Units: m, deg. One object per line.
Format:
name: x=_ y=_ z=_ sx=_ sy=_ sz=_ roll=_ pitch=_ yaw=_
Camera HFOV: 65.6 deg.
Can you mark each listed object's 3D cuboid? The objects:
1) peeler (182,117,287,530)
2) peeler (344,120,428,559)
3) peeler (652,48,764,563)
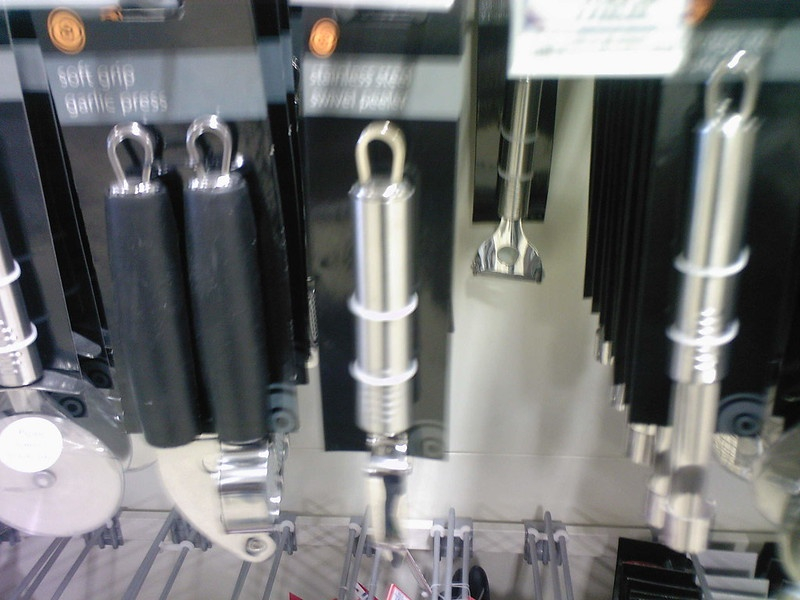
peeler: x=-0.097 y=0.027 z=0.362 sx=0.034 sy=0.254 sz=0.048 roll=-10 pitch=19 yaw=-31
peeler: x=-0.009 y=0.039 z=0.362 sx=0.039 sy=0.273 sz=0.045 roll=9 pitch=25 yaw=24
peeler: x=0.167 y=0.018 z=0.343 sx=0.033 sy=0.286 sz=0.033 roll=5 pitch=22 yaw=23
